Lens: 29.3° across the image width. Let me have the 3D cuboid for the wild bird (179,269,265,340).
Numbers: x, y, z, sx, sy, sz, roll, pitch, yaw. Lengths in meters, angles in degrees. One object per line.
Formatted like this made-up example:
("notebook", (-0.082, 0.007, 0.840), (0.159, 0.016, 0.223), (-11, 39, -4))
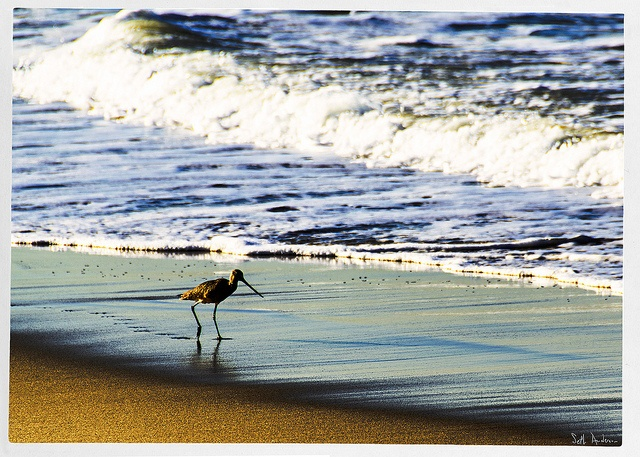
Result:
("wild bird", (-1.679, 1.146, 18.928), (0.926, 1.059, 0.925), (2, 2, -3))
